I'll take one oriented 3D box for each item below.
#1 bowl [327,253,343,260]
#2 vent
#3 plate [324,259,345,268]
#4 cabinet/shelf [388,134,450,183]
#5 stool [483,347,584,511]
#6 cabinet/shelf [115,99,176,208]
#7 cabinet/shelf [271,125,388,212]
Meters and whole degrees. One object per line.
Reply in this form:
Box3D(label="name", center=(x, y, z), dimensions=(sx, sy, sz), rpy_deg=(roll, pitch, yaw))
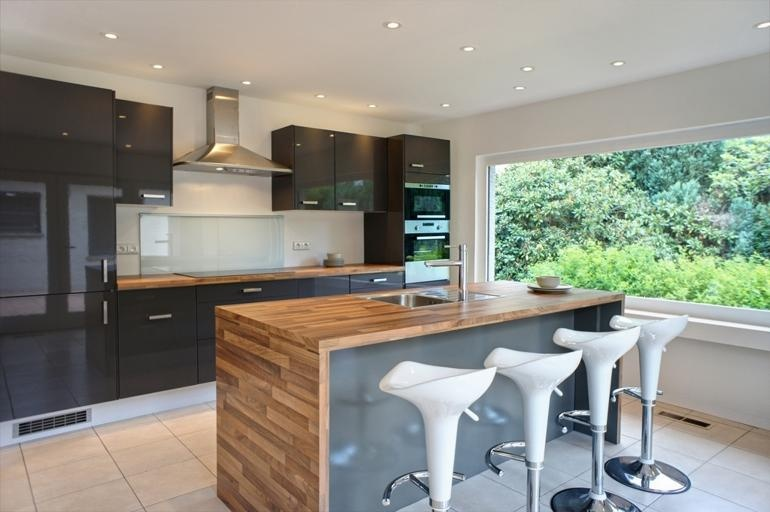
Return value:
Box3D(label="bowl", center=(-0.590, 0.009, 5.995), dimensions=(0.110, 0.072, 0.111), rpy_deg=(0, -3, 0))
Box3D(label="vent", center=(-1.649, -1.253, 5.248), dimensions=(1.032, 0.639, 0.980), rpy_deg=(-3, 4, -30))
Box3D(label="plate", center=(-0.598, 0.079, 5.933), dimensions=(0.229, 0.089, 0.239), rpy_deg=(-1, 7, -10))
Box3D(label="cabinet/shelf", center=(0.429, -1.216, 6.479), dimensions=(0.833, 0.505, 0.440), rpy_deg=(-4, 8, -42))
Box3D(label="stool", center=(0.920, 1.173, 3.264), dimensions=(0.557, 1.237, 0.958), rpy_deg=(1, 8, 11))
Box3D(label="cabinet/shelf", center=(-2.470, -0.943, 5.117), dimensions=(0.786, 1.056, 0.708), rpy_deg=(0, 9, -20))
Box3D(label="cabinet/shelf", center=(-0.752, -0.983, 6.099), dimensions=(0.522, 0.957, 1.760), rpy_deg=(6, 9, 34))
